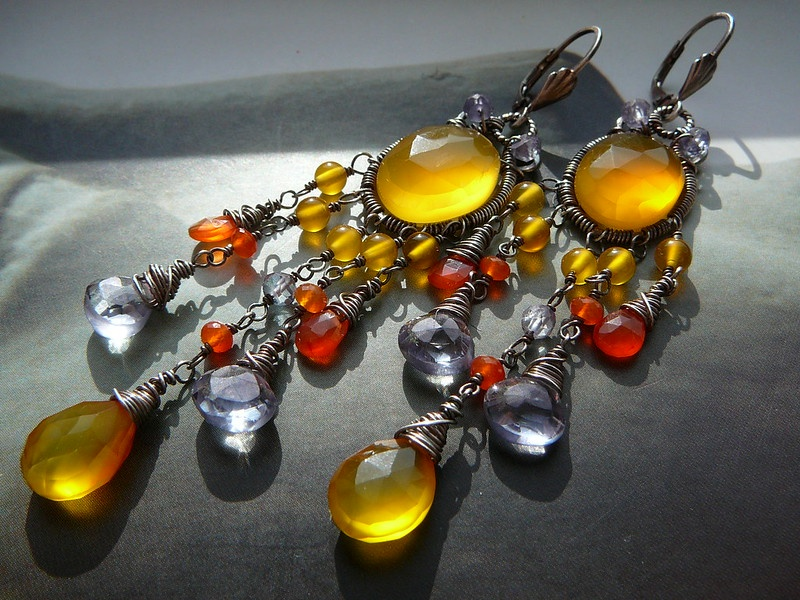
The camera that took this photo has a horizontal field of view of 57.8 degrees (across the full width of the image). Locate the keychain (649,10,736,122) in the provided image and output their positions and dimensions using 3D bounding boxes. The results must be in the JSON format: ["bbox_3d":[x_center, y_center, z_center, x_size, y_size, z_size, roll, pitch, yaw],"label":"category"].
[{"bbox_3d":[0.794,-0.647,2.018,0.140,0.094,0.421,16,62,44],"label":"keychain"}]

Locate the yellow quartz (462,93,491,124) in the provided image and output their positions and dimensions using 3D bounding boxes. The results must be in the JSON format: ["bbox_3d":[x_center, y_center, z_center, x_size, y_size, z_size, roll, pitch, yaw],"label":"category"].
[{"bbox_3d":[0.210,-0.514,1.974,0.071,0.081,0.045,-17,7,10],"label":"yellow quartz"}]

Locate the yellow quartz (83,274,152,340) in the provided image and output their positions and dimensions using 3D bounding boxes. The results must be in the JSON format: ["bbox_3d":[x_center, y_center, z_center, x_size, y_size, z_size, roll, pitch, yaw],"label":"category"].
[{"bbox_3d":[-0.591,0.018,1.570,0.090,0.134,0.120,-31,30,7],"label":"yellow quartz"}]

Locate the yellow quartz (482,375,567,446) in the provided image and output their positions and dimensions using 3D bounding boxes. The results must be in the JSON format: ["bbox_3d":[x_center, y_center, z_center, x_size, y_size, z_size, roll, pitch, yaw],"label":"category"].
[{"bbox_3d":[0.239,0.216,1.408,0.134,0.081,0.133,-7,58,-17],"label":"yellow quartz"}]
